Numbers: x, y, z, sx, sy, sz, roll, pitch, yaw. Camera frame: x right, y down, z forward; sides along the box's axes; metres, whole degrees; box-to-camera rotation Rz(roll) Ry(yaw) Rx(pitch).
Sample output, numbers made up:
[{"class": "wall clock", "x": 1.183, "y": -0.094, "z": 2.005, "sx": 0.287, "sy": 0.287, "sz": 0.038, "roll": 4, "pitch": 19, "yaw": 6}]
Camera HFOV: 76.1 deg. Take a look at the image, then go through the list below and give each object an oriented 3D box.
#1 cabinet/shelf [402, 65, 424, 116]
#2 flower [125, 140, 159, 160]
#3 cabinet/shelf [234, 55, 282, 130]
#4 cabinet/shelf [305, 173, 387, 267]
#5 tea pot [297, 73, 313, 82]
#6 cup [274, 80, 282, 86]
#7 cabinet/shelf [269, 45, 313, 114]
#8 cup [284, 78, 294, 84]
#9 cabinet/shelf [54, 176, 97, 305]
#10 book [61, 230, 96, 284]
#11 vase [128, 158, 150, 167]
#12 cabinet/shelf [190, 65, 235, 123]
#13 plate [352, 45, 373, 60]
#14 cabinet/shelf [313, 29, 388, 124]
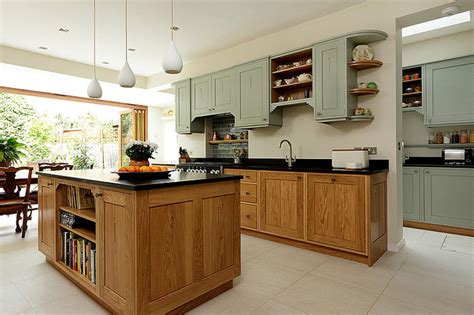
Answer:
[{"class": "cabinet/shelf", "x": 3.358, "y": -1.284, "z": 5.806, "sx": 0.344, "sy": 0.907, "sz": 0.351, "roll": -1, "pitch": 4, "yaw": 31}, {"class": "flower", "x": -1.258, "y": -0.064, "z": 4.020, "sx": 0.423, "sy": 0.274, "sz": 0.425, "roll": -1, "pitch": 7, "yaw": -3}, {"class": "cabinet/shelf", "x": 0.522, "y": -1.212, "z": 5.804, "sx": 0.909, "sy": 1.146, "sz": 0.800, "roll": 3, "pitch": 8, "yaw": 41}, {"class": "cabinet/shelf", "x": 1.696, "y": 0.844, "z": 4.676, "sx": 1.031, "sy": 1.283, "sz": 1.121, "roll": -2, "pitch": 1, "yaw": -35}, {"class": "tea pot", "x": 1.133, "y": -1.342, "z": 5.092, "sx": 0.201, "sy": 0.108, "sz": 0.143, "roll": -3, "pitch": 0, "yaw": 39}, {"class": "cup", "x": 0.716, "y": -1.313, "z": 5.326, "sx": 0.142, "sy": 0.134, "sz": 0.093, "roll": 0, "pitch": -1, "yaw": 28}, {"class": "cabinet/shelf", "x": 0.982, "y": -1.315, "z": 5.238, "sx": 0.801, "sy": 0.978, "sz": 0.378, "roll": -1, "pitch": 4, "yaw": 36}, {"class": "cup", "x": 0.899, "y": -1.334, "z": 5.280, "sx": 0.157, "sy": 0.107, "sz": 0.122, "roll": 4, "pitch": -6, "yaw": -9}, {"class": "cabinet/shelf", "x": -1.894, "y": 0.960, "z": 3.890, "sx": 1.337, "sy": 1.316, "sz": 0.412, "roll": 1, "pitch": 2, "yaw": 40}, {"class": "book", "x": -1.999, "y": 1.246, "z": 3.823, "sx": 0.541, "sy": 0.544, "sz": 0.131, "roll": 9, "pitch": 12, "yaw": 38}, {"class": "vase", "x": -1.254, "y": 0.068, "z": 3.887, "sx": 0.149, "sy": 0.099, "sz": 0.149, "roll": 0, "pitch": 1, "yaw": -41}, {"class": "cabinet/shelf", "x": -0.625, "y": -1.349, "z": 6.328, "sx": 1.120, "sy": 0.913, "sz": 0.431, "roll": -21, "pitch": 37, "yaw": -33}, {"class": "plate", "x": 1.953, "y": -1.617, "z": 4.658, "sx": 0.350, "sy": 0.250, "sz": 0.150, "roll": -4, "pitch": 3, "yaw": -12}, {"class": "cabinet/shelf", "x": 1.743, "y": -1.214, "z": 4.753, "sx": 1.002, "sy": 1.291, "sz": 0.534, "roll": 0, "pitch": 1, "yaw": 44}]
